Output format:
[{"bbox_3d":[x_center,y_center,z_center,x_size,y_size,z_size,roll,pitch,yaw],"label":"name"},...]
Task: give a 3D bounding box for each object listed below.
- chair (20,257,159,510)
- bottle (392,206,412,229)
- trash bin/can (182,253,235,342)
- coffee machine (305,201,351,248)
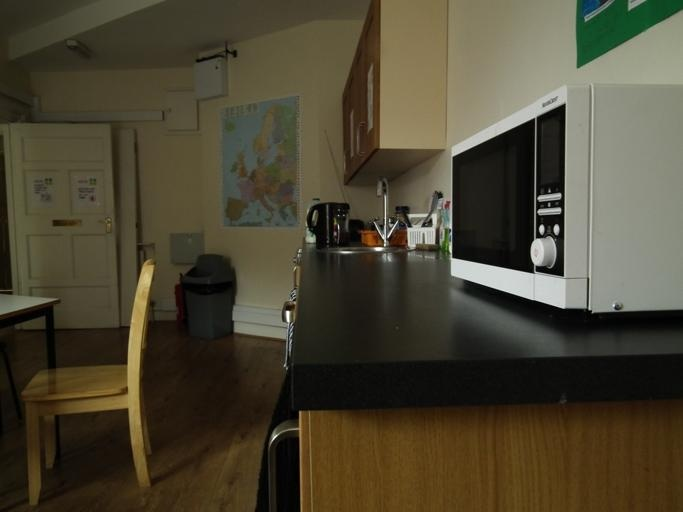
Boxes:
[{"bbox_3d":[-1.144,0.507,2.391,0.568,1.004,0.523,-3,7,-23],"label":"chair"},{"bbox_3d":[0.332,-0.216,2.834,0.097,0.168,0.106,1,4,0],"label":"bottle"},{"bbox_3d":[-1.238,0.362,4.873,0.479,0.720,0.556,-1,6,-9],"label":"trash bin/can"},{"bbox_3d":[-0.065,-0.170,2.811,0.249,0.306,0.168,-1,4,-11],"label":"coffee machine"}]
